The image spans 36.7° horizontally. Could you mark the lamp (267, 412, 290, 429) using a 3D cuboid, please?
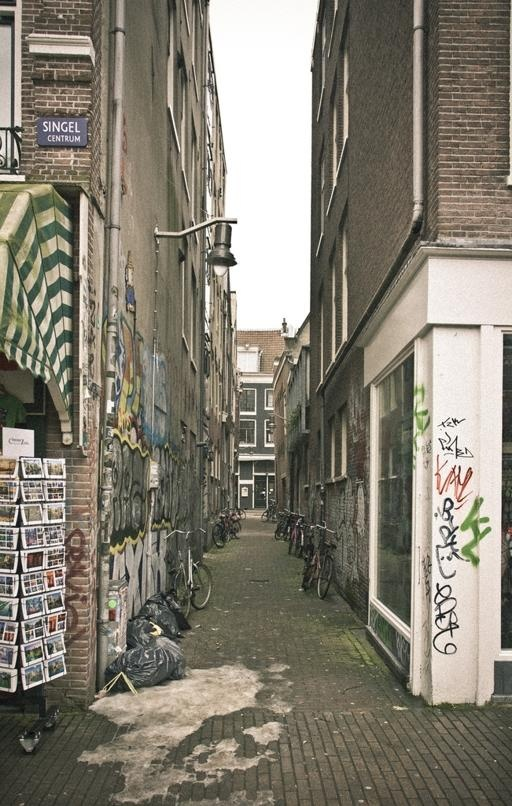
[{"bbox_3d":[1.333,1.102,47.525,1.200,1.522,0.643,-3,3,-10],"label":"lamp"}]

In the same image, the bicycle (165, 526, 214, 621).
[{"bbox_3d":[-0.970,2.434,10.990,0.249,0.940,0.941,-10,-9,30],"label":"bicycle"}]
